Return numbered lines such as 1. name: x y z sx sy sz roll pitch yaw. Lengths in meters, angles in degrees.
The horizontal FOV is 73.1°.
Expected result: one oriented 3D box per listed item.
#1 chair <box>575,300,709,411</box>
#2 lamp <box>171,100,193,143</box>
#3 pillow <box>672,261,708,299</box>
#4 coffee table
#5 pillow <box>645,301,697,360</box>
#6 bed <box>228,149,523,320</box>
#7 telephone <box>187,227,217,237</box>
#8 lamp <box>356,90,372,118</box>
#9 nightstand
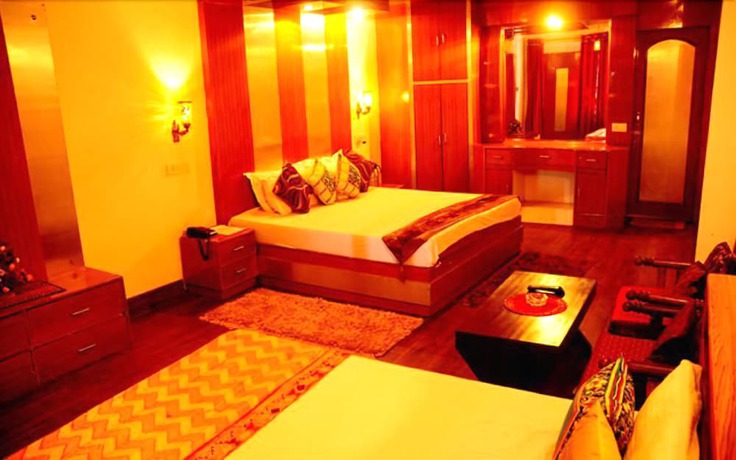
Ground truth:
1. chair: 1.750 0.961 3.253 0.593 0.541 1.121 11 20 38
2. lamp: -2.076 -1.216 5.549 0.298 0.436 0.158 -15 23 -29
3. pillow: 2.380 0.359 3.666 0.176 0.200 0.503 9 23 32
4. coffee table: 1.218 0.640 4.116 0.564 0.692 1.093 -4 41 46
5. pillow: 1.920 0.622 3.072 0.112 0.407 0.232 20 -1 -4
6. bed: -0.001 0.122 5.674 2.128 1.023 2.134 6 15 31
7. telephone: -1.834 0.018 5.475 0.248 0.082 0.151 3 11 23
8. lamp: -0.026 -2.016 7.901 0.183 0.389 0.470 4 21 20
9. nightstand: -1.725 0.354 5.771 0.709 0.625 0.701 2 13 19
